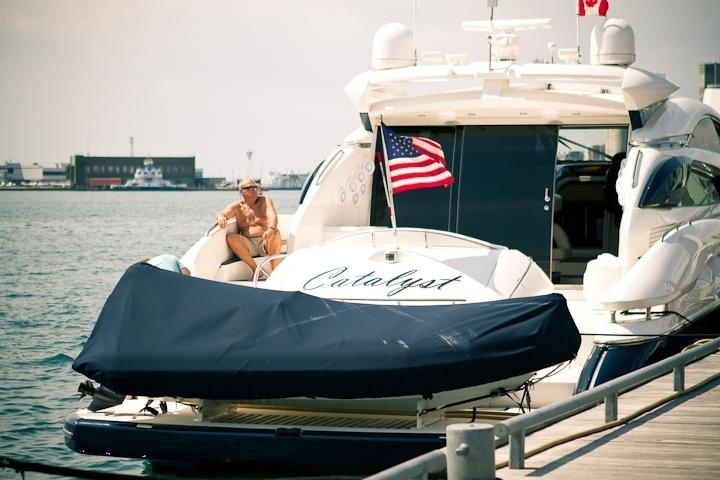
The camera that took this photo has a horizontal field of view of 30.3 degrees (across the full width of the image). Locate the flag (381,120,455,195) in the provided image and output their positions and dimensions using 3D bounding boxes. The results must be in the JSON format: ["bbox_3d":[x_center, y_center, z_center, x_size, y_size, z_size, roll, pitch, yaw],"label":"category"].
[{"bbox_3d":[1.283,-1.768,29.243,1.995,1.876,0.273,-4,-8,-9],"label":"flag"}]

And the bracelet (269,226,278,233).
[{"bbox_3d":[-2.013,-0.218,30.457,0.166,0.090,0.205,2,-4,-6],"label":"bracelet"}]

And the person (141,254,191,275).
[{"bbox_3d":[-4.047,0.552,28.440,0.479,0.329,0.968,-8,9,-43],"label":"person"}]
